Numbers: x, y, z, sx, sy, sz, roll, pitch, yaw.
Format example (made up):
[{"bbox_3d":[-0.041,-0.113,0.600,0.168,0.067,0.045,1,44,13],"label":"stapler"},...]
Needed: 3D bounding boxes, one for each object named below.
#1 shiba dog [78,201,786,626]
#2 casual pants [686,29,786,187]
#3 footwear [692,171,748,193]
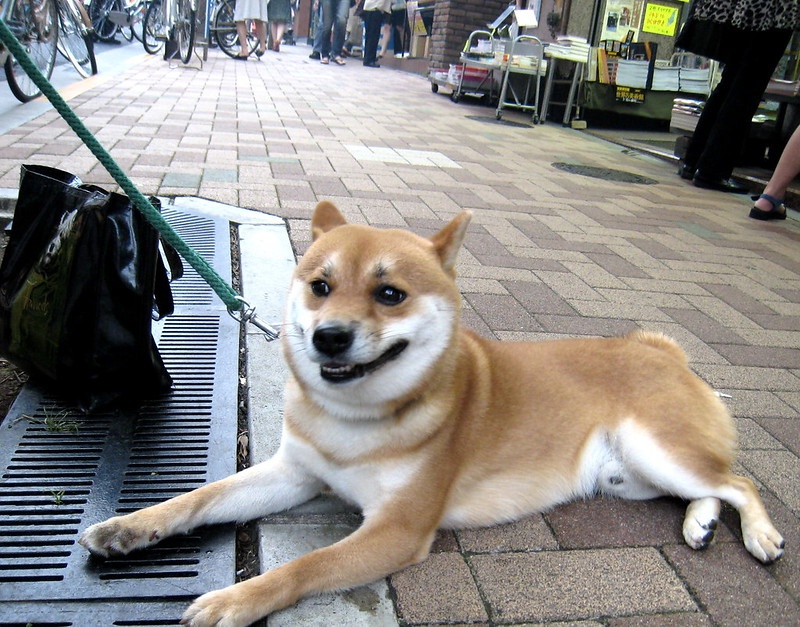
[{"bbox_3d":[0.135,0.283,2.319,2.187,1.024,1.259,1,1,-29],"label":"shiba dog"},{"bbox_3d":[3.974,-2.462,7.380,0.329,1.329,1.365,18,49,12],"label":"casual pants"},{"bbox_3d":[4.079,-1.666,7.901,0.793,0.337,0.263,1,11,-10],"label":"footwear"}]
